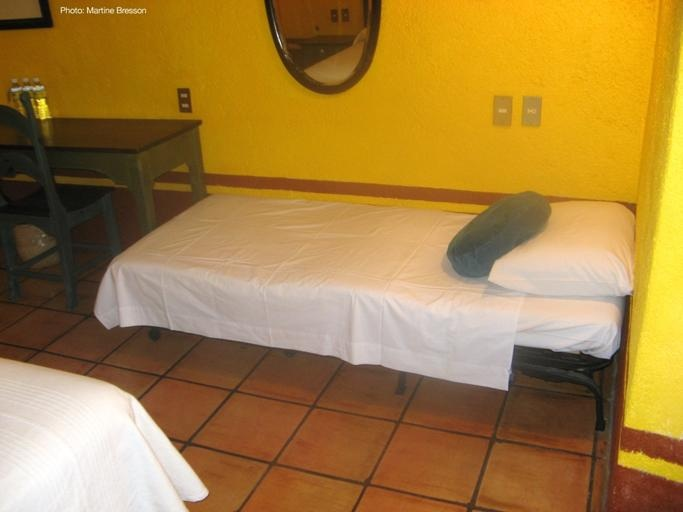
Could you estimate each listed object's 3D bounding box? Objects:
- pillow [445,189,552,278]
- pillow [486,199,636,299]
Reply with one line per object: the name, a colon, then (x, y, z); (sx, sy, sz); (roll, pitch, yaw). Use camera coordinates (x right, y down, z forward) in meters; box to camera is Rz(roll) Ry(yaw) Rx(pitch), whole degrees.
pillow: (0.724, -0.101, 2.392); (0.519, 0.272, 0.198); (-36, 27, -5)
pillow: (0.952, -0.011, 2.170); (0.393, 0.165, 0.628); (2, 27, 32)
